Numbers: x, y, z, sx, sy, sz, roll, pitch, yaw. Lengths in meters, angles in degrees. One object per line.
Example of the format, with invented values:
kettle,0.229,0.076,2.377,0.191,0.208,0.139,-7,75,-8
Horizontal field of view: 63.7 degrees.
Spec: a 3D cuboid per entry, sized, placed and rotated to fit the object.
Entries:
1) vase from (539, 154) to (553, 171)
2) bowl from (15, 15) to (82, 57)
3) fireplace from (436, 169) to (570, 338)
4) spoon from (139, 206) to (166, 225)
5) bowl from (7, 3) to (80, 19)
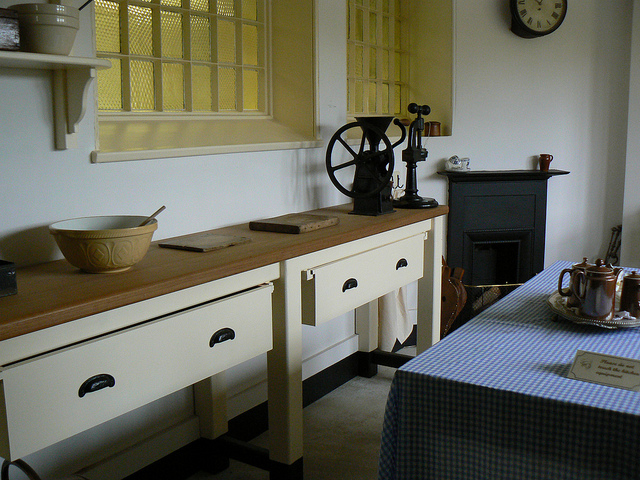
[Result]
vase,1.940,-0.666,4.420,0.120,0.133,0.096,-3,15,-6
bowl,-0.838,-0.631,1.603,0.174,0.121,0.050,-9,17,-27
fireplace,1.501,-0.109,4.555,1.113,1.650,0.769,4,9,4
spoon,-0.644,-0.096,1.974,0.021,0.104,0.018,42,-2,12
bowl,-0.847,-0.707,1.597,0.189,0.038,0.063,-10,18,-28
